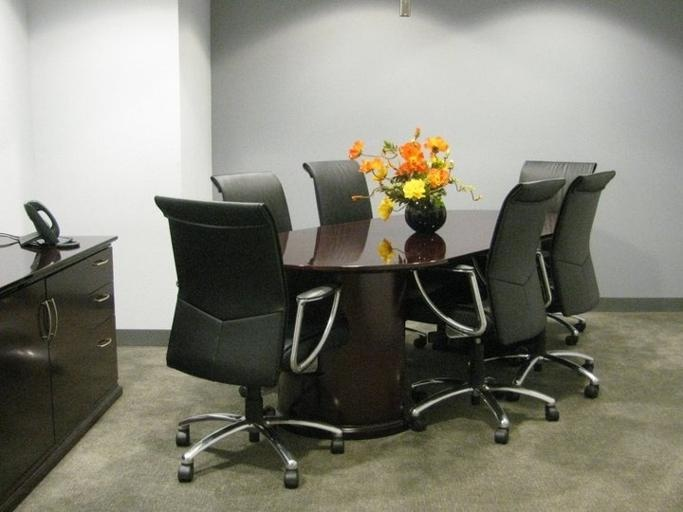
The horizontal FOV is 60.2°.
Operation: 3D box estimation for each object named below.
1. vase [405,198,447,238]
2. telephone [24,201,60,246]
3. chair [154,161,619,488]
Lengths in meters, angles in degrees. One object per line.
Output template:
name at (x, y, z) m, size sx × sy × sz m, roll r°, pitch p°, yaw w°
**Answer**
vase at (0.566, -0.264, 3.878) m, size 0.308 × 0.227 × 0.299 m, roll -1°, pitch 6°, yaw -33°
telephone at (-1.695, -0.216, 3.315) m, size 0.073 × 0.231 × 0.167 m, roll -24°, pitch 58°, yaw -5°
chair at (0.433, 0.243, 3.413) m, size 2.581 × 1.392 × 1.248 m, roll -8°, pitch 14°, yaw -32°
